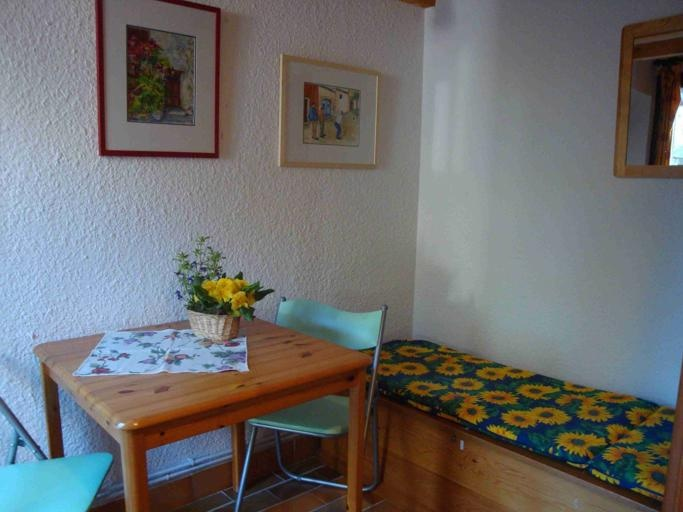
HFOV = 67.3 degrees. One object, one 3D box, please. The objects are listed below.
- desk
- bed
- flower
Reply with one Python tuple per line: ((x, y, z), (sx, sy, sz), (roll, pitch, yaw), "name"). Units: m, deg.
((-0.567, 0.425, 2.163), (0.942, 0.921, 0.938), (-9, 18, -38), "desk")
((0.894, 0.803, 2.626), (1.434, 0.296, 0.792), (12, 16, 43), "bed")
((-0.607, 0.105, 2.413), (0.490, 0.217, 0.386), (25, 29, 23), "flower")
